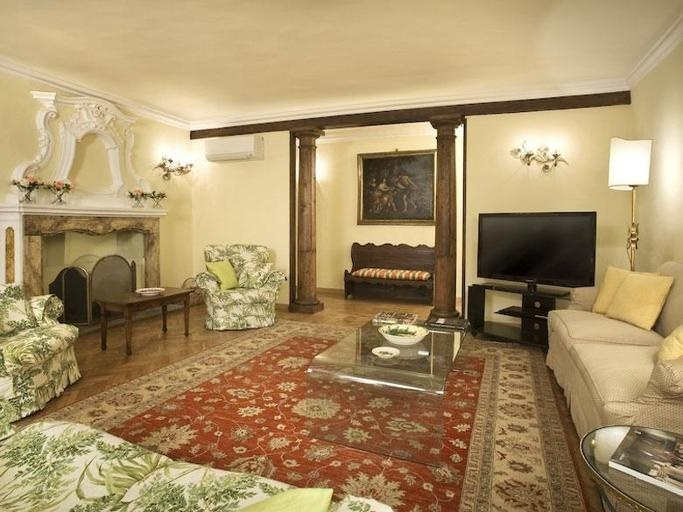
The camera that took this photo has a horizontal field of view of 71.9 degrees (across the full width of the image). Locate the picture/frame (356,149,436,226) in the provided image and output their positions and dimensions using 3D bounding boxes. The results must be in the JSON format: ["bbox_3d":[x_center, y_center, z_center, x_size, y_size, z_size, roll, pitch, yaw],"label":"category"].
[{"bbox_3d":[0.917,-1.154,8.048,1.403,1.292,0.199,5,14,22],"label":"picture/frame"}]

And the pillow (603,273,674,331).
[{"bbox_3d":[2.422,0.349,3.813,0.154,0.417,0.483,33,-8,-21],"label":"pillow"}]

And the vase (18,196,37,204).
[{"bbox_3d":[-3.443,-0.610,5.131,0.166,0.084,0.350,-6,13,-32],"label":"vase"}]

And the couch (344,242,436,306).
[{"bbox_3d":[0.804,0.298,7.851,1.515,0.925,0.973,3,12,13],"label":"couch"}]

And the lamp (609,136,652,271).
[{"bbox_3d":[2.987,-0.501,4.969,0.377,1.405,1.149,9,14,31],"label":"lamp"}]

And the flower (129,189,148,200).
[{"bbox_3d":[-2.769,-0.822,6.398,0.124,0.157,0.283,7,13,26],"label":"flower"}]

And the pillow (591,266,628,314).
[{"bbox_3d":[2.408,0.303,4.236,0.132,0.373,0.414,19,40,25],"label":"pillow"}]

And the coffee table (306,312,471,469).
[{"bbox_3d":[0.356,1.018,3.594,0.695,0.275,1.219,2,12,21],"label":"coffee table"}]

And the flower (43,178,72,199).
[{"bbox_3d":[-3.318,-0.777,5.493,0.237,0.184,0.236,-1,-3,39],"label":"flower"}]

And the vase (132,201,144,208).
[{"bbox_3d":[-2.783,-0.699,6.418,0.097,0.093,0.098,10,17,28],"label":"vase"}]

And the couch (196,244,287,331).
[{"bbox_3d":[-1.307,0.349,6.331,1.323,1.055,1.113,1,-2,-23],"label":"couch"}]

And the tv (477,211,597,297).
[{"bbox_3d":[2.213,-0.034,5.246,1.100,0.684,0.314,3,6,33],"label":"tv"}]

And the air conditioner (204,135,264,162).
[{"bbox_3d":[-1.623,-1.607,6.997,0.895,0.377,0.298,4,13,17],"label":"air conditioner"}]

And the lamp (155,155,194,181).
[{"bbox_3d":[-2.514,-1.298,6.979,0.375,0.232,0.486,1,6,8],"label":"lamp"}]

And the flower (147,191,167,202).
[{"bbox_3d":[-2.645,-0.843,6.684,0.182,0.112,0.186,-1,-2,45],"label":"flower"}]

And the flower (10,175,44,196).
[{"bbox_3d":[-3.464,-0.751,5.166,0.252,0.154,0.255,-1,-1,-26],"label":"flower"}]

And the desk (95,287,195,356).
[{"bbox_3d":[-2.262,0.672,5.241,1.062,0.550,0.517,-4,11,-44],"label":"desk"}]
